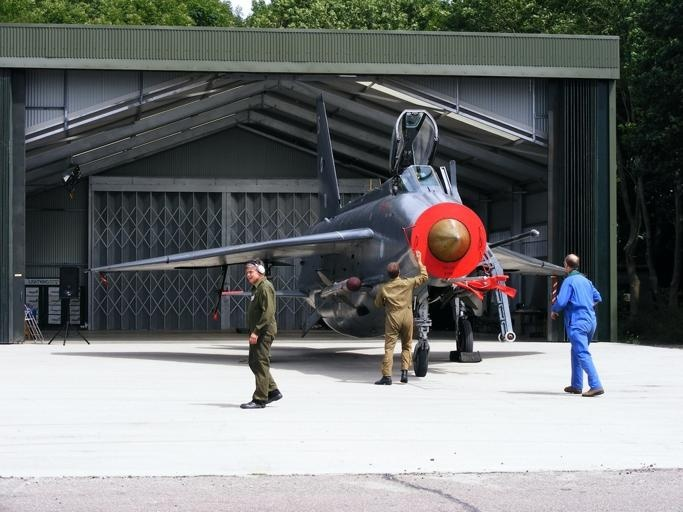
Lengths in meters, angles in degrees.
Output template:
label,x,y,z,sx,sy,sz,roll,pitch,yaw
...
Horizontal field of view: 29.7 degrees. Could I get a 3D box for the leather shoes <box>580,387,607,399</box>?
label,x,y,z,sx,sy,sz,roll,pitch,yaw
leather shoes,6.017,3.221,30.551,0.593,0.256,0.201,-13,-2,2

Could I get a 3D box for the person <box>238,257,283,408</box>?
label,x,y,z,sx,sy,sz,roll,pitch,yaw
person,-1.817,1.801,30.038,0.815,2.526,1.083,-2,-1,-3

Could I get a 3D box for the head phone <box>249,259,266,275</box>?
label,x,y,z,sx,sy,sz,roll,pitch,yaw
head phone,-1.879,0.194,29.845,0.470,0.184,0.346,16,-10,-1

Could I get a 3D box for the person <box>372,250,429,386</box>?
label,x,y,z,sx,sy,sz,roll,pitch,yaw
person,1.516,1.673,31.843,1.146,2.514,0.788,-1,-1,-44

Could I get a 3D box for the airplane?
label,x,y,z,sx,sy,sz,roll,pitch,yaw
airplane,0.214,-0.299,36.141,10.052,5.796,8.873,-1,1,-19

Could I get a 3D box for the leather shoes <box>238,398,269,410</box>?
label,x,y,z,sx,sy,sz,roll,pitch,yaw
leather shoes,-1.974,3.397,29.613,0.638,0.263,0.235,4,-7,-8
